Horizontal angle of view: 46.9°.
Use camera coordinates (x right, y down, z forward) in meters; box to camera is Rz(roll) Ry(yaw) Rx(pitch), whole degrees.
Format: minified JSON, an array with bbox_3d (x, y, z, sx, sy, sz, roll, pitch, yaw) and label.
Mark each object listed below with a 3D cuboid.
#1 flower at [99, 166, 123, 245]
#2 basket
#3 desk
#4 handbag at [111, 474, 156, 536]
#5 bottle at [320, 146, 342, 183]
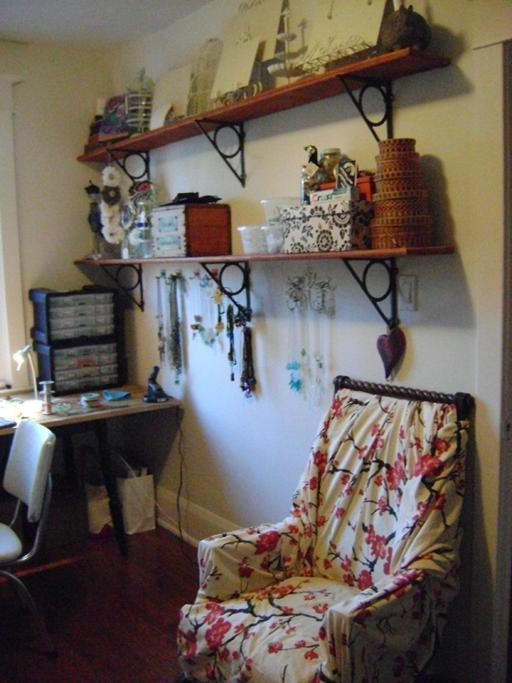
[{"bbox_3d":[-0.801,-0.750,3.241,0.127,0.435,0.246,-4,7,-14],"label":"flower"},{"bbox_3d":[0.386,-0.392,1.574,0.160,0.286,0.105,-1,7,11],"label":"basket"},{"bbox_3d":[-0.838,0.445,2.950,0.952,0.766,0.731,-1,-3,-22],"label":"desk"},{"bbox_3d":[-0.638,0.859,3.111,0.189,0.282,0.175,-11,-6,41],"label":"handbag"},{"bbox_3d":[0.222,-0.526,1.765,0.064,0.096,0.034,-1,7,7],"label":"bottle"}]
